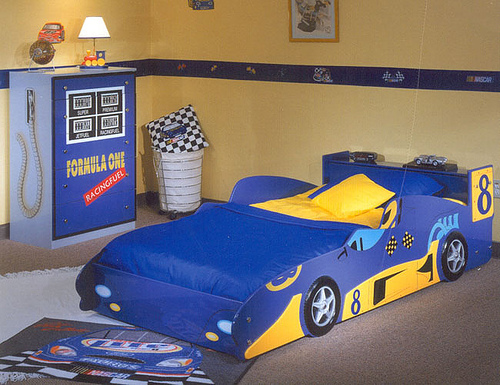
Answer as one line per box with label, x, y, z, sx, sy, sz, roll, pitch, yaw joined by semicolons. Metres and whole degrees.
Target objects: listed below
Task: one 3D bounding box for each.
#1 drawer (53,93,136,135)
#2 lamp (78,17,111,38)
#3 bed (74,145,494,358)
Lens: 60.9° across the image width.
drawer;-1.095;-0.574;3.023;0.063;0.335;0.729;12;18;23
lamp;-1.133;-1.189;3.094;0.161;0.125;0.175;-1;9;-5
bed;0.143;0.184;1.681;1.305;0.469;0.723;-13;18;-39
